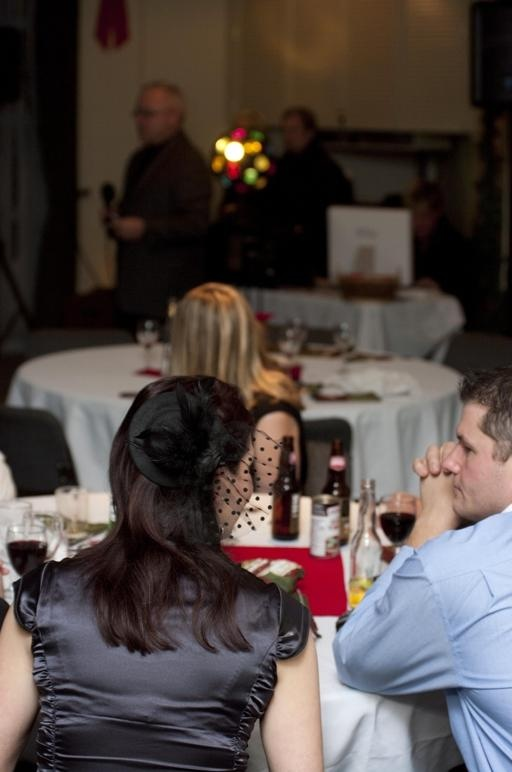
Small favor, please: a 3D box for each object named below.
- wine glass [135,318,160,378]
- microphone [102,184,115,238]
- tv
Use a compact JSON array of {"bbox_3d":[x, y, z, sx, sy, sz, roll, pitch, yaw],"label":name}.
[{"bbox_3d":[-0.426,-0.167,2.974,0.143,0.279,0.123,0,2,-6],"label":"wine glass"},{"bbox_3d":[-0.794,-0.951,4.123,0.081,0.280,0.090,-1,0,-2],"label":"microphone"},{"bbox_3d":[0.593,-0.751,4.051,0.488,0.405,0.107,3,13,8],"label":"tv"}]
